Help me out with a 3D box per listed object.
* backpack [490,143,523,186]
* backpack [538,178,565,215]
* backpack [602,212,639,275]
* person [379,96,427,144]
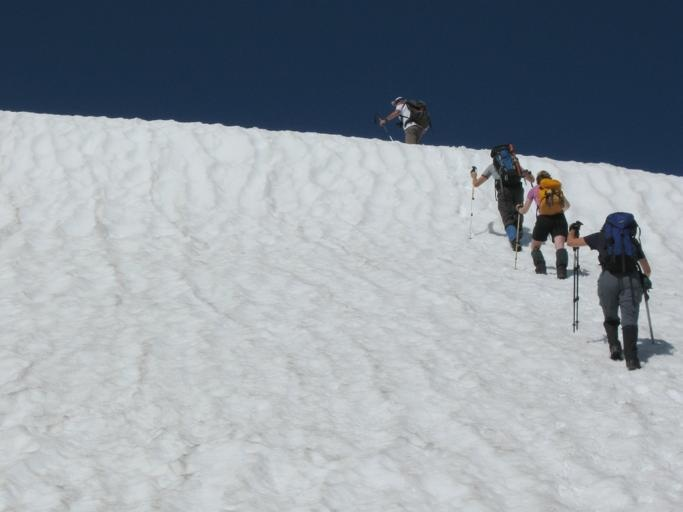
[{"bbox_3d":[3.119,-1.616,19.855,0.393,0.686,0.664,-4,23,-21],"label":"backpack"},{"bbox_3d":[3.609,-0.963,18.382,0.499,0.626,0.329,9,23,12],"label":"backpack"},{"bbox_3d":[4.024,-0.175,15.471,0.454,0.805,0.643,-7,24,-26],"label":"backpack"},{"bbox_3d":[1.571,-2.968,23.980,0.909,1.022,1.216,6,21,3],"label":"person"}]
